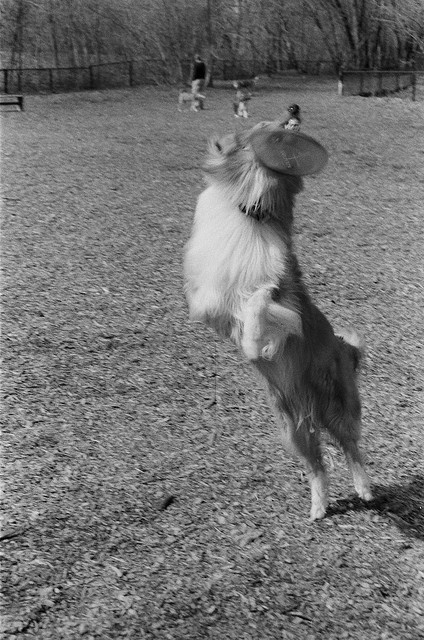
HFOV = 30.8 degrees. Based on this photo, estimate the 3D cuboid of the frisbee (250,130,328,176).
[{"bbox_3d":[0.249,-0.539,2.447,0.285,0.141,0.094,-16,23,-37],"label":"frisbee"}]
